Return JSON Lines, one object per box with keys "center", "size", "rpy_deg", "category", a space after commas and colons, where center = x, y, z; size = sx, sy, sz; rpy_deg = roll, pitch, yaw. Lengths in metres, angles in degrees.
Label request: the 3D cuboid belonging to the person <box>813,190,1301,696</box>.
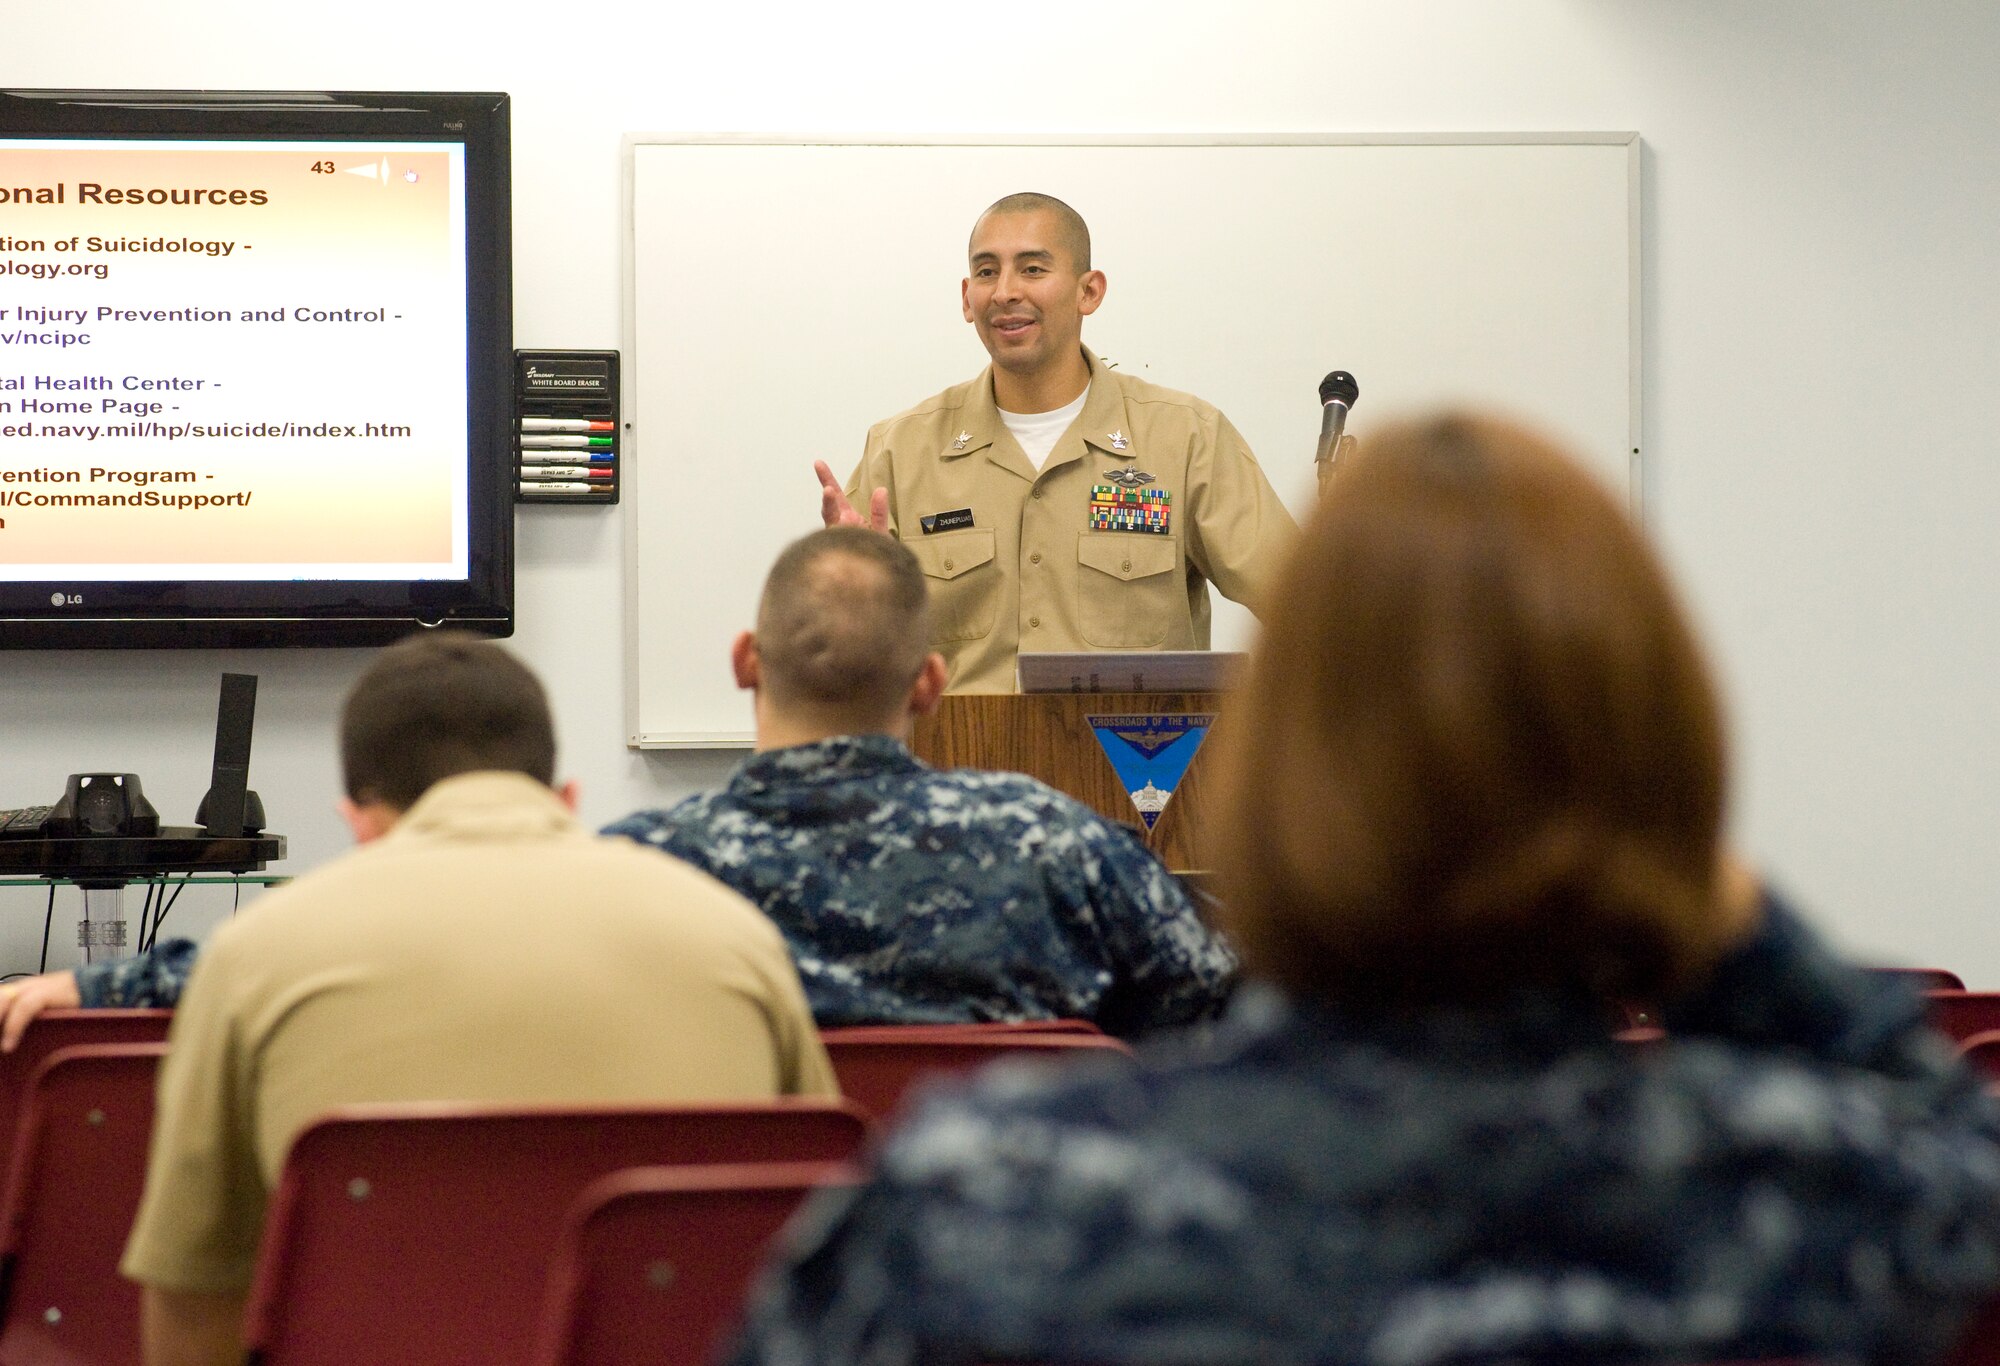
{"center": [0.083, -0.488, 3.885], "size": [1.475, 1.287, 0.674], "rpy_deg": [-3, 1, 13], "category": "person"}
